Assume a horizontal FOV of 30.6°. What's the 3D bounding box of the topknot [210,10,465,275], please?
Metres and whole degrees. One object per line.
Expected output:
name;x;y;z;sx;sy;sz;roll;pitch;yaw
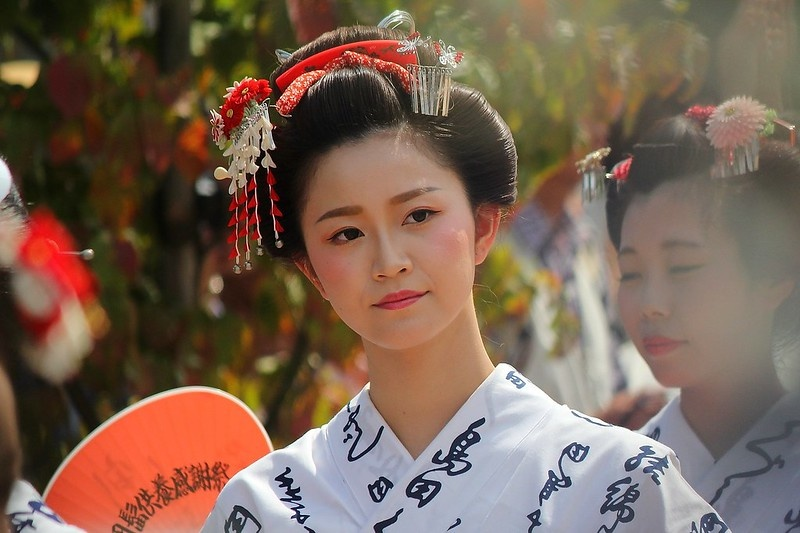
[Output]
topknot;-0.194;-0.370;4.860;0.853;0.722;0.649;-5;-4;0
